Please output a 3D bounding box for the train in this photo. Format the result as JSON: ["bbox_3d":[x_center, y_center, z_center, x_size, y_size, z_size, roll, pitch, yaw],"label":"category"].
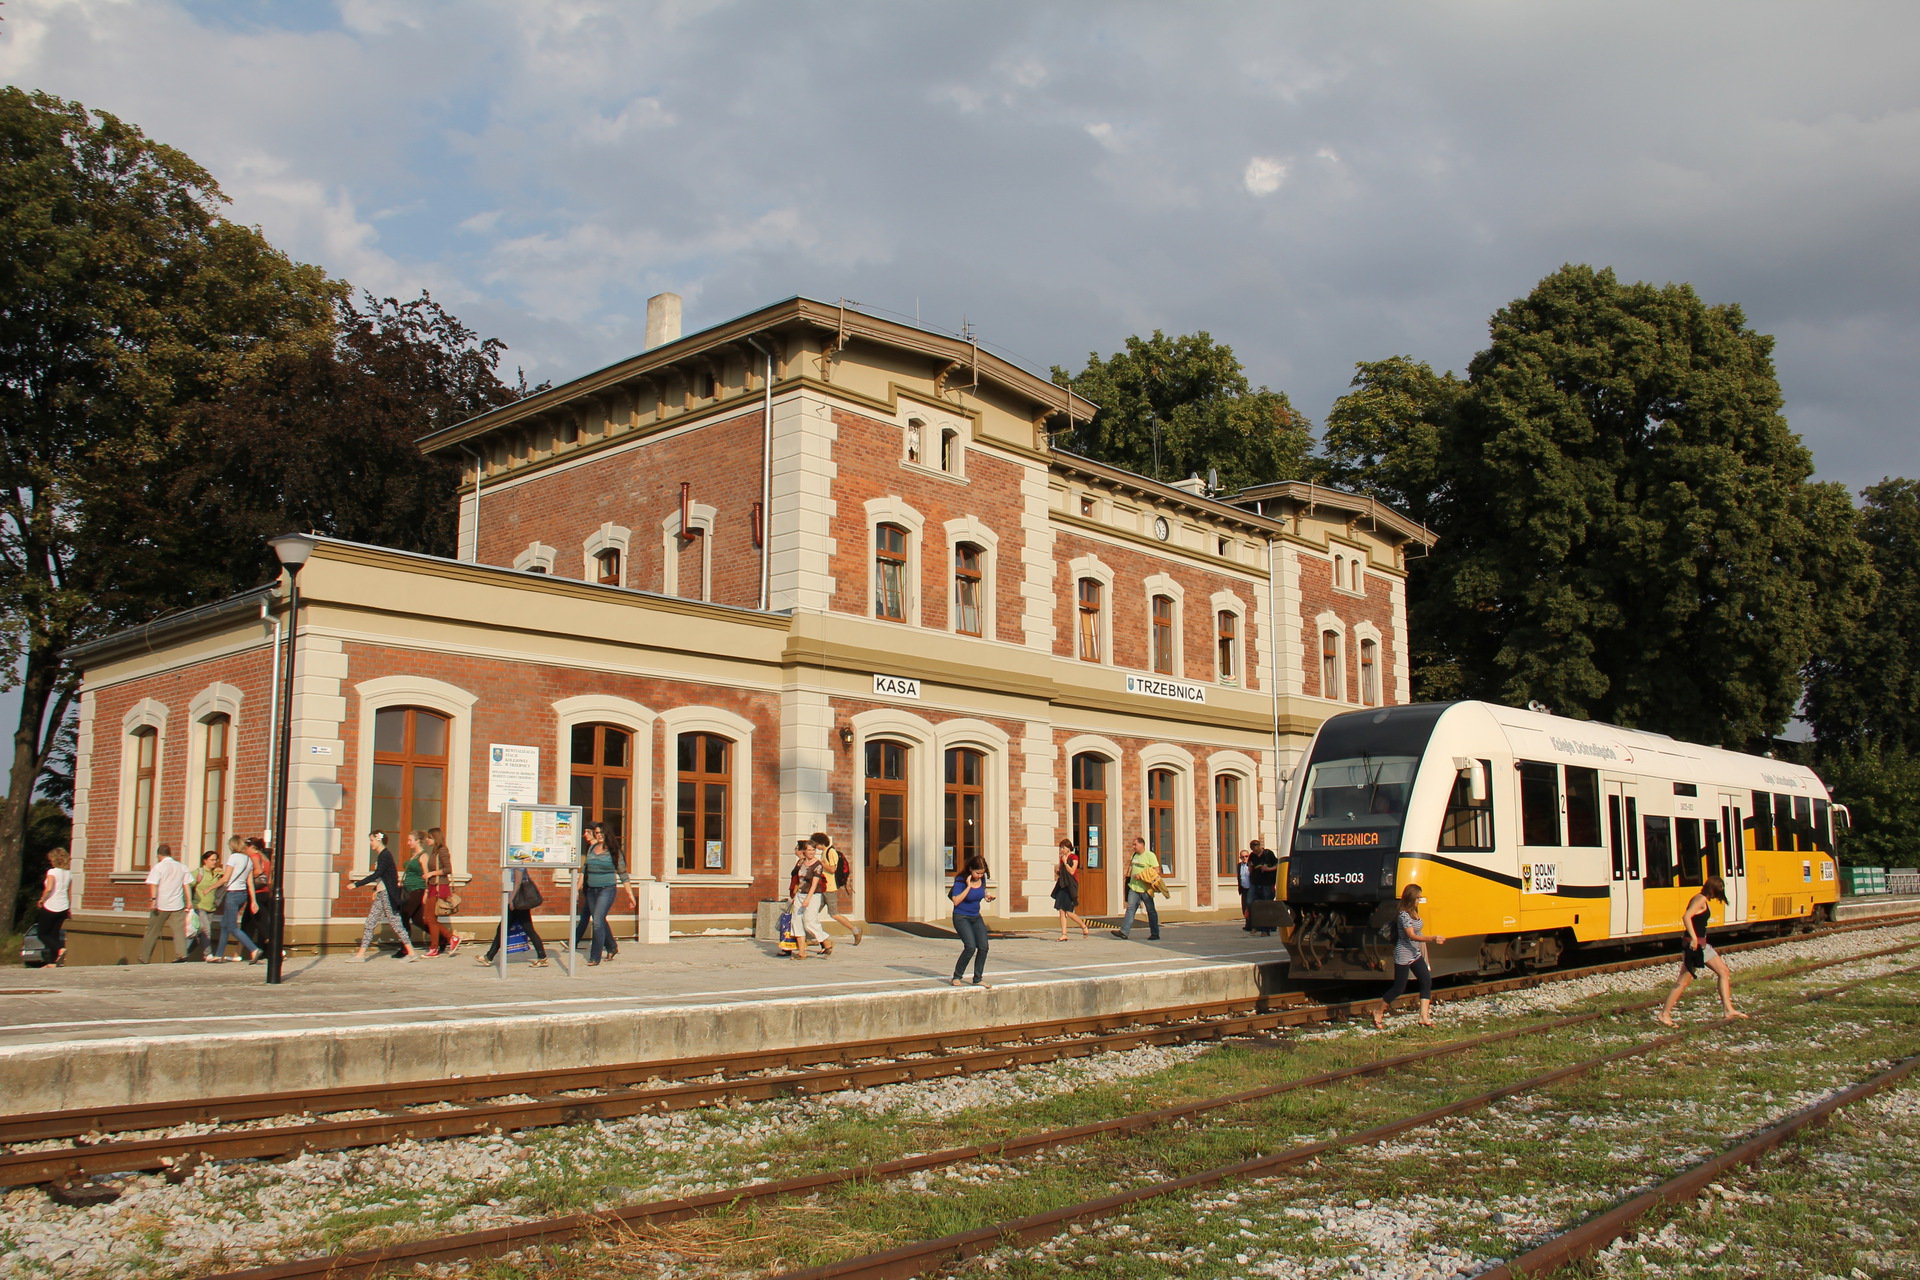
[{"bbox_3d":[11.179,4.138,29.949,17.082,4.434,4.272,12,-19,-40],"label":"train"}]

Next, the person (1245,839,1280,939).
[{"bbox_3d":[5.649,4.648,30.562,0.604,1.684,0.596,-7,-8,15],"label":"person"}]

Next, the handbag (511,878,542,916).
[{"bbox_3d":[-6.485,3.771,24.218,0.487,0.610,0.224,8,-13,-35],"label":"handbag"}]

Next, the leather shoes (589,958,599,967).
[{"bbox_3d":[-5.469,4.862,24.374,0.163,0.068,0.064,3,-12,-3],"label":"leather shoes"}]
